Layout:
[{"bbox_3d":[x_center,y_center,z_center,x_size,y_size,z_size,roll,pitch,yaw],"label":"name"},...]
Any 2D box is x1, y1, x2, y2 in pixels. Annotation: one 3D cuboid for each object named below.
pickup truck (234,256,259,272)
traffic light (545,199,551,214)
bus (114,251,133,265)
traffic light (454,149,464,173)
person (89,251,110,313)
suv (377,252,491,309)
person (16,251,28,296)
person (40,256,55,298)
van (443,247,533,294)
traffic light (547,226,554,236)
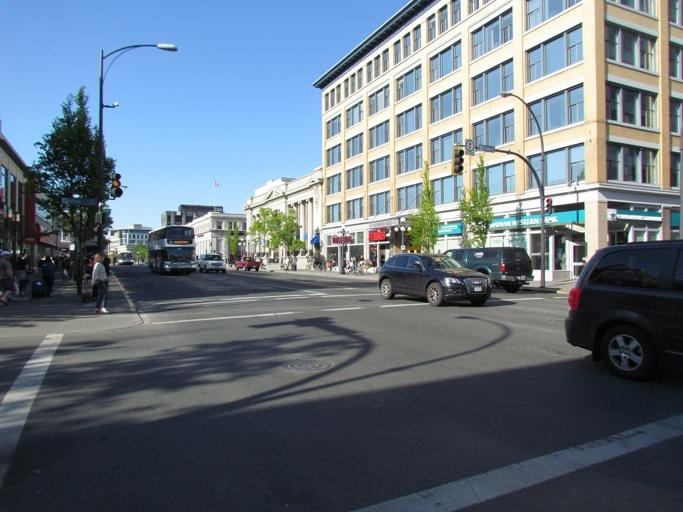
[{"bbox_3d":[-11.183,1.010,67.557,1.427,1.359,3.373,0,4,-23],"label":"pickup truck"},{"bbox_3d":[9.973,-2.441,27.038,0.197,0.641,1.016,0,5,15],"label":"traffic light"},{"bbox_3d":[-52.135,0.572,134.862,3.138,3.369,6.219,1,2,-20],"label":"bus"},{"bbox_3d":[4.794,-3.876,23.056,0.375,1.016,0.620,1,4,21],"label":"traffic light"},{"bbox_3d":[-7.192,0.835,16.858,0.377,1.777,1.518,-2,5,-25],"label":"person"},{"bbox_3d":[3.108,0.803,18.631,1.554,1.398,3.547,1,-3,-28],"label":"suv"},{"bbox_3d":[-13.727,0.846,24.314,0.403,1.708,4.054,-3,5,-30],"label":"person"},{"bbox_3d":[-11.966,0.847,23.015,0.424,1.697,2.072,-3,5,-28],"label":"person"},{"bbox_3d":[6.427,0.377,25.533,1.768,1.498,3.743,0,6,-24],"label":"van"},{"bbox_3d":[12.073,-1.427,32.401,0.143,0.543,0.716,-2,5,-21],"label":"traffic light"}]
